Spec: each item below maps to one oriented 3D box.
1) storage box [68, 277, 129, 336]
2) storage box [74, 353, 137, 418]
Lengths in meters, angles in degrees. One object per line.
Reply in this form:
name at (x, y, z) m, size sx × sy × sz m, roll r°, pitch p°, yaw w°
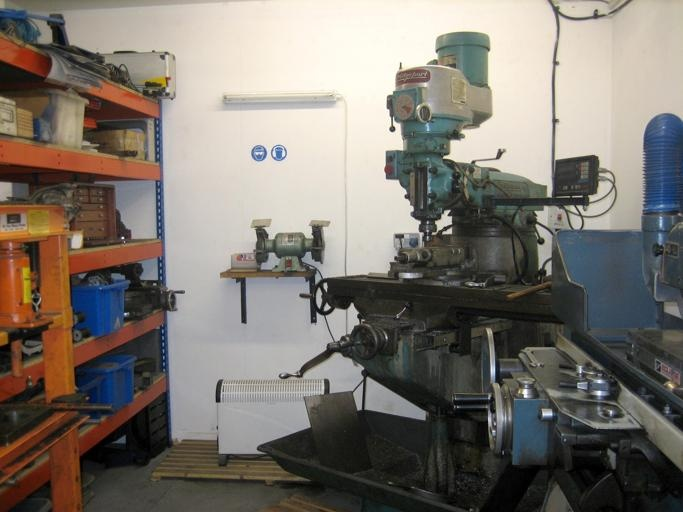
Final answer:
storage box at (-1.289, 0.283, 3.540) m, size 0.355 × 0.262 × 0.244 m, roll -3°, pitch -6°, yaw 24°
storage box at (-1.325, 0.705, 3.793) m, size 0.309 × 0.311 × 0.443 m, roll -1°, pitch 0°, yaw 4°
